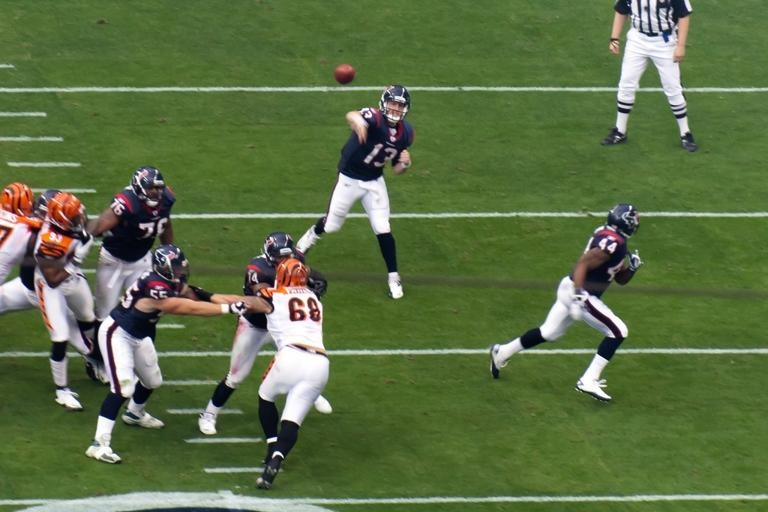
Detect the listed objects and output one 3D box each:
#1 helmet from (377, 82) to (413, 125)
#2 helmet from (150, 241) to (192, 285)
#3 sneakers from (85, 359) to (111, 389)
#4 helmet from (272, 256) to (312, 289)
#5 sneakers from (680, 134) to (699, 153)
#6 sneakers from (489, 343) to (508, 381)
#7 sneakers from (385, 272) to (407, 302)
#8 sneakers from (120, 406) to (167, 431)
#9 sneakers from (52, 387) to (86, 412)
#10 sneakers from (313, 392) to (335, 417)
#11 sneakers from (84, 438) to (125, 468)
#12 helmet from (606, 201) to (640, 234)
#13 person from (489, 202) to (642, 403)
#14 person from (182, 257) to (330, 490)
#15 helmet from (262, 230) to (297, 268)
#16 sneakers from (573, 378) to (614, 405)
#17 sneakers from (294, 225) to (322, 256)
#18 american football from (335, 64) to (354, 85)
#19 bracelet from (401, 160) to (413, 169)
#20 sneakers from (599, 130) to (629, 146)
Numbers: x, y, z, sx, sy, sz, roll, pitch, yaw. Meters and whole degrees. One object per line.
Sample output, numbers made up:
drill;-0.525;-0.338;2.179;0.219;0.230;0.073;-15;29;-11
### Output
helmet;0.076;-1.718;13.787;0.384;0.371;0.438;6;21;-16
helmet;-1.990;0.037;11.794;0.428;0.347;0.307;21;18;-12
sneakers;-2.899;1.181;12.669;0.406;0.162;0.153;30;22;32
helmet;-0.898;0.155;11.861;0.269;0.277;0.300;-3;-9;-24
sneakers;3.906;-1.447;16.032;0.137;0.129;0.302;-15;35;-13
sneakers;1.193;1.101;13.068;0.203;0.363;0.139;5;20;16
sneakers;0.129;0.338;13.919;0.149;0.142;0.334;-6;42;1
sneakers;-2.355;1.574;12.192;0.507;0.182;0.156;8;9;-6
sneakers;-3.088;1.394;12.278;0.360;0.127;0.159;11;8;30
sneakers;-0.594;1.446;12.271;0.314;0.109;0.162;18;43;36
sneakers;-2.614;1.819;11.653;0.445;0.242;0.151;14;9;8
helmet;2.462;-0.401;12.753;0.375;0.291;0.262;-3;27;-14
person;1.971;0.502;12.624;1.379;1.858;0.953;-9;34;-24
person;-1.111;0.740;11.982;1.541;1.758;1.087;-4;7;-12
helmet;-0.997;-0.079;11.850;0.280;0.270;0.336;-3;3;-30
sneakers;2.214;1.356;12.806;0.488;0.211;0.156;20;22;-15
sneakers;-0.859;-0.176;14.133;0.237;0.380;0.106;22;39;-33
american football;-0.472;-2.198;15.232;0.206;0.289;0.296;7;29;3
bracelet;0.252;-1.036;14.007;0.122;0.047;0.133;-2;-3;3
sneakers;2.913;-1.523;16.128;0.423;0.168;0.141;-7;28;-18
